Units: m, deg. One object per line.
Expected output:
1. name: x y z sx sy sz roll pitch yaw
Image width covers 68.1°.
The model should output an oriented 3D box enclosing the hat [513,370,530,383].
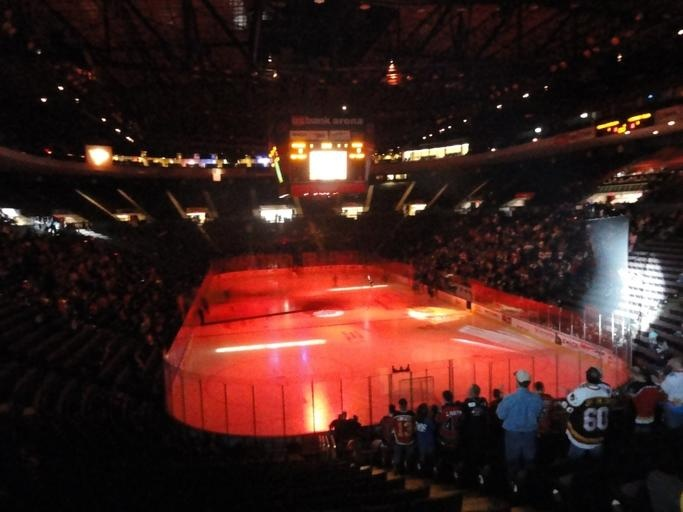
1. hat: 3.749 2.491 10.468 0.280 0.239 0.264 -3 -11 14
